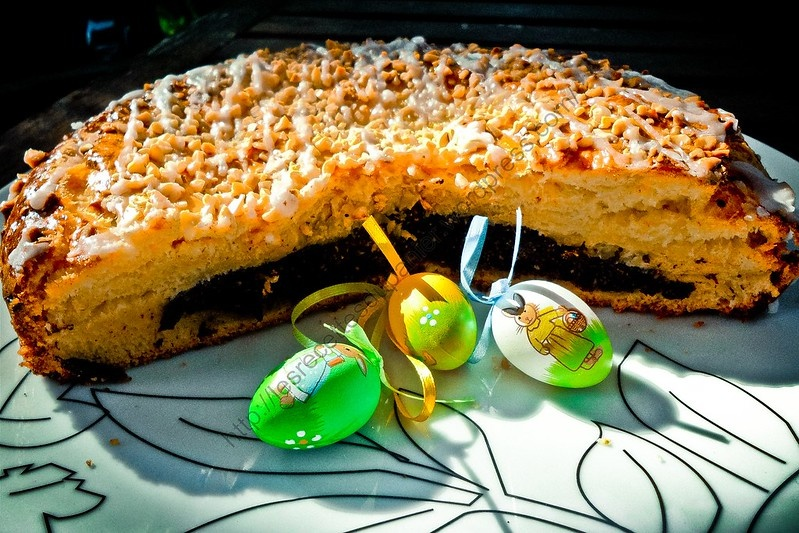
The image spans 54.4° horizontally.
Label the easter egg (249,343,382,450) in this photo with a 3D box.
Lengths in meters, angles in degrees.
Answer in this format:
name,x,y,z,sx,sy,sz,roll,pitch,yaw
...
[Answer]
name,x,y,z,sx,sy,sz,roll,pitch,yaw
easter egg,-0.283,0.452,2.683,0.464,0.199,0.297,-32,65,-17
